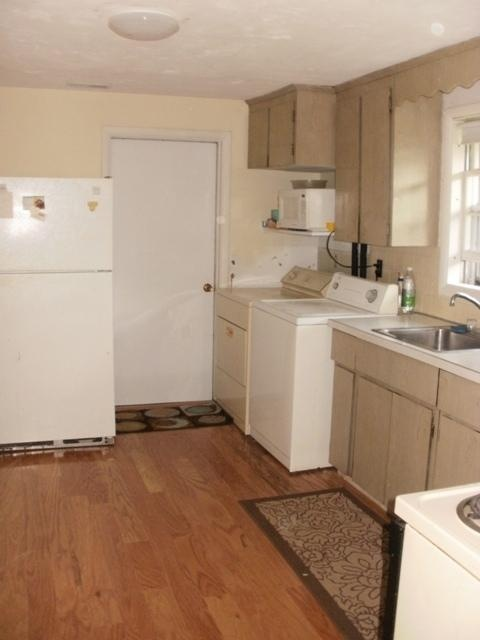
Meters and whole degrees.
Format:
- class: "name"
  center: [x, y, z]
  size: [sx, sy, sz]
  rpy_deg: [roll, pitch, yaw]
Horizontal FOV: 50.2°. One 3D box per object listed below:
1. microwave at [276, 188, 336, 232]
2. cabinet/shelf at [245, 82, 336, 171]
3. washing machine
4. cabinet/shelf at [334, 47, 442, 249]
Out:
- class: "microwave"
  center: [0.464, -0.799, 3.642]
  size: [0.223, 0.260, 0.414]
  rpy_deg: [-9, 16, -21]
- class: "cabinet/shelf"
  center: [0.333, -1.340, 3.663]
  size: [0.300, 0.515, 0.799]
  rpy_deg: [-7, 18, -20]
- class: "washing machine"
  center: [0.489, 0.293, 3.283]
  size: [0.718, 1.147, 0.909]
  rpy_deg: [-2, 9, -25]
- class: "cabinet/shelf"
  center: [0.823, -0.947, 2.783]
  size: [0.379, 1.143, 0.848]
  rpy_deg: [-3, 10, -9]
